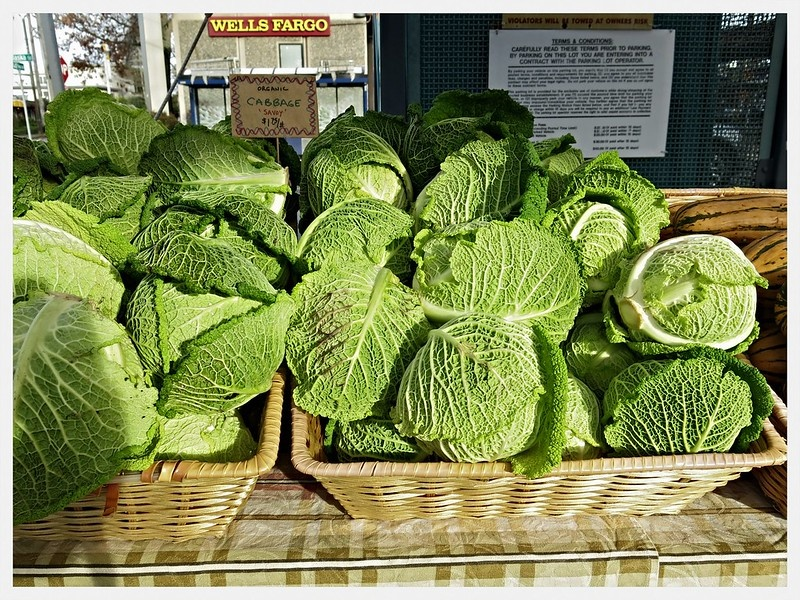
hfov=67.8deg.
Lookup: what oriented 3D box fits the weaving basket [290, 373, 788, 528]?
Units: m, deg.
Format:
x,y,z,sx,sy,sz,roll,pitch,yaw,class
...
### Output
x,y,z,sx,sy,sz,roll,pitch,yaw,class
0.413,0.458,1.818,0.734,0.296,0.385,0,18,0,weaving basket
